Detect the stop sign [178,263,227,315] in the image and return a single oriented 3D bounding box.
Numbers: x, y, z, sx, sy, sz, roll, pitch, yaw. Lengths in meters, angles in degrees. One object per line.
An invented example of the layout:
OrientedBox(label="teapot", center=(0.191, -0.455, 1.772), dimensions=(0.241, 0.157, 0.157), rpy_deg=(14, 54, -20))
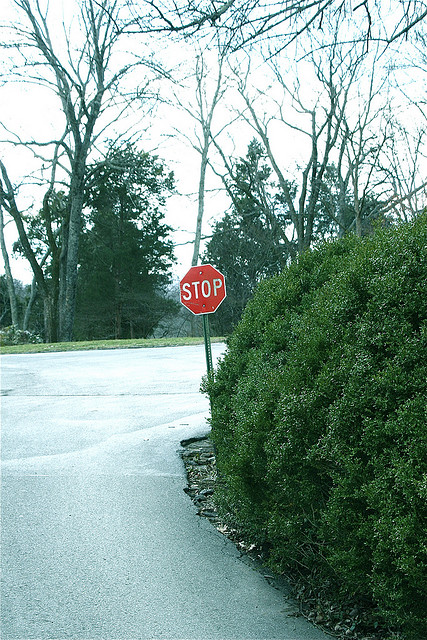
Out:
OrientedBox(label="stop sign", center=(-0.116, -0.279, 6.374), dimensions=(0.344, 0.453, 0.477), rpy_deg=(0, 3, -16))
